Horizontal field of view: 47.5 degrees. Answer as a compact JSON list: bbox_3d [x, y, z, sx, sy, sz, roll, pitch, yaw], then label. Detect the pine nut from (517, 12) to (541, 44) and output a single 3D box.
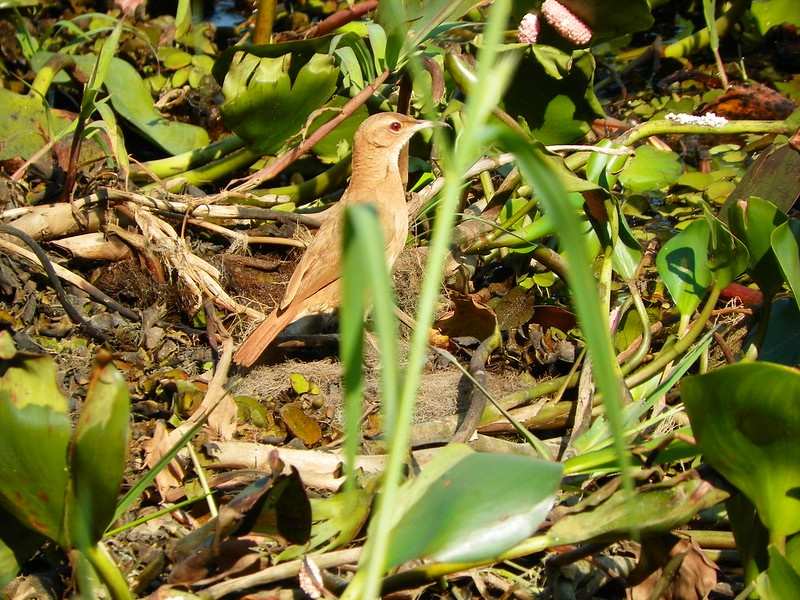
[{"bbox_3d":[0.471,-0.985,3.303,0.092,0.122,0.046,1,24,0],"label":"pine nut"}]
